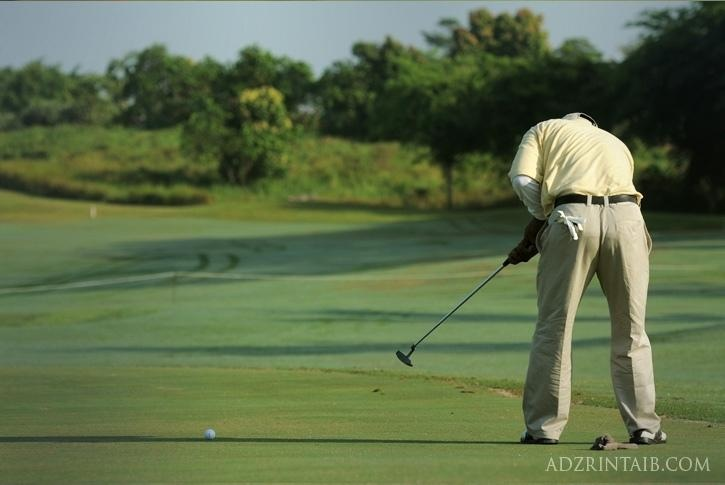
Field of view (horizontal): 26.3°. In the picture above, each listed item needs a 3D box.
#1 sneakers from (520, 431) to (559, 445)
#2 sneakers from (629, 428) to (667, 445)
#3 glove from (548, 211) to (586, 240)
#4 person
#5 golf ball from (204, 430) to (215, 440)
[{"bbox_3d":[1.187,1.317,10.451,0.239,0.092,0.090,-5,-5,37],"label":"sneakers"},{"bbox_3d":[1.903,1.306,10.430,0.263,0.109,0.098,-1,3,-21],"label":"sneakers"},{"bbox_3d":[1.361,-0.098,10.357,0.201,0.181,0.070,9,-13,-3],"label":"glove"},{"bbox_3d":[1.488,0.250,10.437,1.028,2.136,0.328,1,0,6],"label":"person"},{"bbox_3d":[-1.045,1.318,10.622,0.069,0.062,0.065,0,1,0],"label":"golf ball"}]
